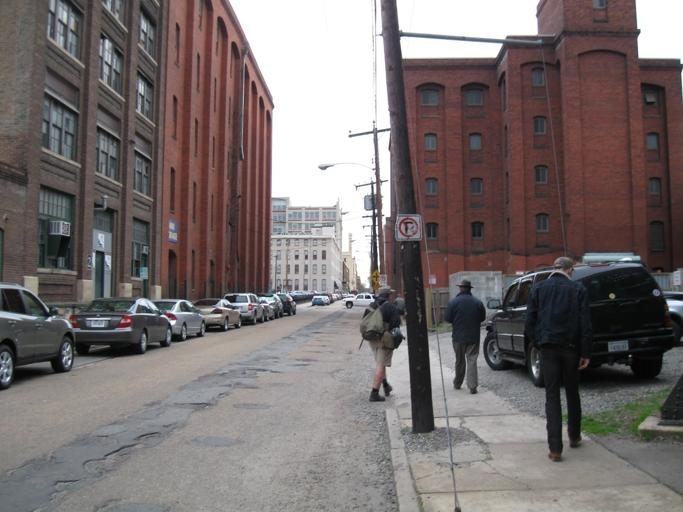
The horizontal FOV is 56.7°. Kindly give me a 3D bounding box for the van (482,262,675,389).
[{"bbox_3d":[4.750,1.316,14.151,2.332,2.135,4.717,0,0,-12],"label":"van"}]

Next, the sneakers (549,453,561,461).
[{"bbox_3d":[2.779,2.600,8.261,0.167,0.081,0.177,-5,-4,17],"label":"sneakers"}]

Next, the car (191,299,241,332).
[{"bbox_3d":[-5.568,2.592,29.038,0.967,0.887,2.588,-1,-3,9],"label":"car"}]

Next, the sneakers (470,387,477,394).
[{"bbox_3d":[2.546,2.587,12.285,0.118,0.130,0.087,3,-14,-16],"label":"sneakers"}]

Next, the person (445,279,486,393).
[{"bbox_3d":[2.474,1.581,12.601,0.742,1.408,0.774,-4,-3,9],"label":"person"}]

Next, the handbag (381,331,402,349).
[{"bbox_3d":[0.939,1.563,11.955,0.368,0.397,0.283,8,-6,-14],"label":"handbag"}]

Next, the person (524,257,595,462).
[{"bbox_3d":[2.981,1.337,8.760,1.067,2.049,0.810,-1,-3,-35],"label":"person"}]

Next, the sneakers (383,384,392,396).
[{"bbox_3d":[0.906,2.598,12.454,0.100,0.143,0.319,0,8,13],"label":"sneakers"}]

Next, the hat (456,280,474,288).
[{"bbox_3d":[3.368,0.735,17.342,0.476,0.191,0.545,4,-14,3],"label":"hat"}]

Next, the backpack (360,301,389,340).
[{"bbox_3d":[0.640,1.255,11.955,0.316,0.627,0.562,16,-13,-8],"label":"backpack"}]

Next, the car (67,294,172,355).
[{"bbox_3d":[-6.270,2.062,19.205,1.801,1.692,3.660,-5,-4,30],"label":"car"}]
